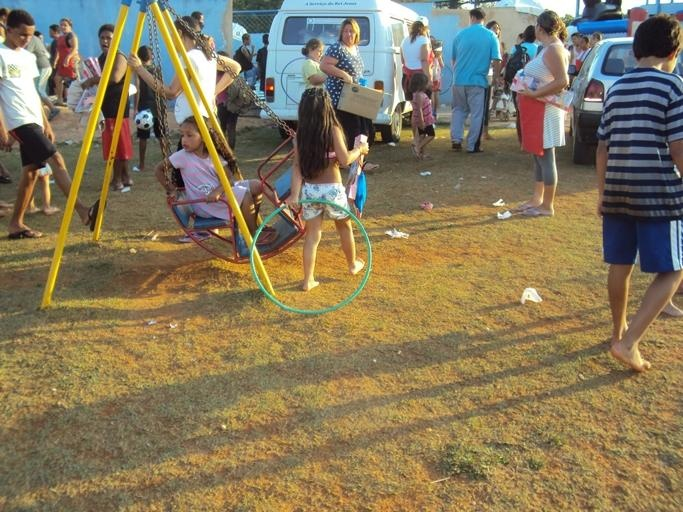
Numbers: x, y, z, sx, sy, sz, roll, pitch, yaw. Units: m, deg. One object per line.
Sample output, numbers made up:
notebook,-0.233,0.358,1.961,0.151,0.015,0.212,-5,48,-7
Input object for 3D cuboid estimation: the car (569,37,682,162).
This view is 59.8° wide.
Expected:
car,3.774,-2.209,8.776,1.682,1.561,3.062,1,30,19

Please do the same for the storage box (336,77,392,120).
storage box,0.246,-2.008,7.759,0.745,0.406,0.466,16,8,-3

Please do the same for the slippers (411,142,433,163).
slippers,1.341,-1.731,10.003,0.326,0.449,0.153,-2,-27,30

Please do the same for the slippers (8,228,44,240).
slippers,-3.452,-0.239,6.432,0.299,0.078,0.135,-8,16,-28
